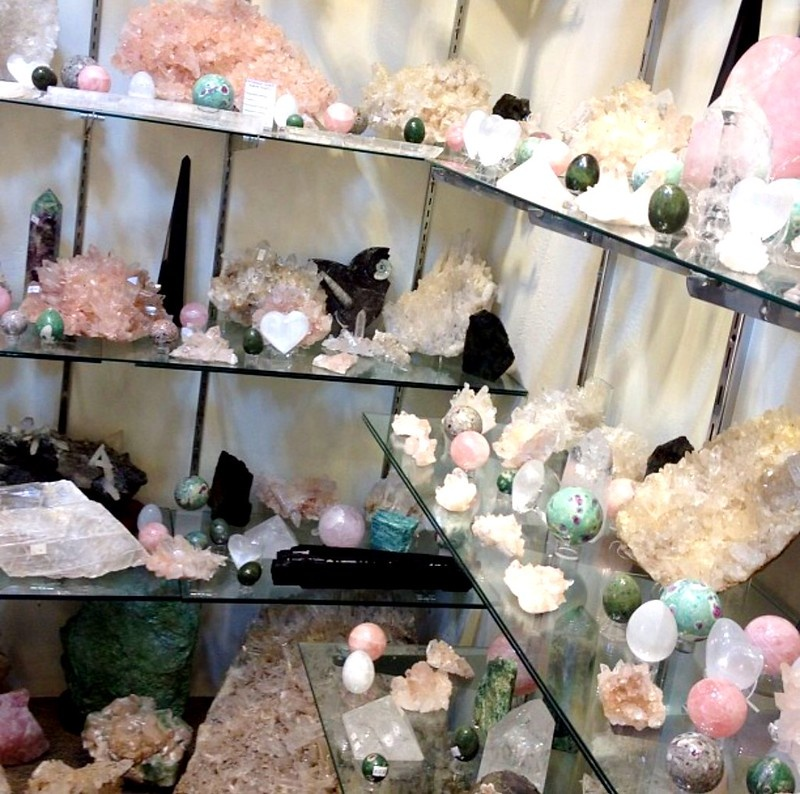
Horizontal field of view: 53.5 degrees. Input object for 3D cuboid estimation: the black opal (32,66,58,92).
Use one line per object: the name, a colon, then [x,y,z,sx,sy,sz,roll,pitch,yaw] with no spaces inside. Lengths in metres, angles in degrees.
black opal: [-0.686,-0.614,1.525,0.053,0.028,0.053,-17,44,-43]

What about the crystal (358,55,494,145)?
crystal: [0.060,-0.698,1.942,0.291,0.220,0.139,6,-16,-3]

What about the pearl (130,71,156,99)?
pearl: [-0.525,-0.633,1.612,0.044,0.041,0.082,3,28,-22]

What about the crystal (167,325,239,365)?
crystal: [-0.426,-0.114,1.733,0.142,0.051,0.105,4,27,-18]

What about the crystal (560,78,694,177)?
crystal: [0.342,-0.405,1.271,0.218,0.076,0.181,7,57,12]

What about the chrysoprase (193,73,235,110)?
chrysoprase: [-0.380,-0.615,1.603,0.084,0.089,0.079,3,5,1]

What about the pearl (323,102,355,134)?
pearl: [-0.134,-0.642,1.818,0.082,0.077,0.081,2,-5,-4]

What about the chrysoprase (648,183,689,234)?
chrysoprase: [0.317,-0.222,0.932,0.050,0.057,0.046,-1,29,-1]

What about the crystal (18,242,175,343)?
crystal: [-0.670,-0.230,1.784,0.260,0.149,0.259,28,29,27]

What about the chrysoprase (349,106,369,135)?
chrysoprase: [-0.094,-0.642,1.861,0.057,0.056,0.068,-2,54,-3]

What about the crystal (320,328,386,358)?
crystal: [-0.117,-0.128,1.915,0.111,0.037,0.069,16,1,-19]

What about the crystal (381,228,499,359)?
crystal: [0.112,-0.244,2.000,0.241,0.305,0.084,26,-7,25]

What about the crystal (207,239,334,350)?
crystal: [-0.333,-0.248,1.967,0.312,0.128,0.222,9,59,-10]

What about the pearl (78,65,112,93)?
pearl: [-0.614,-0.635,1.588,0.061,0.045,0.102,2,28,-22]
